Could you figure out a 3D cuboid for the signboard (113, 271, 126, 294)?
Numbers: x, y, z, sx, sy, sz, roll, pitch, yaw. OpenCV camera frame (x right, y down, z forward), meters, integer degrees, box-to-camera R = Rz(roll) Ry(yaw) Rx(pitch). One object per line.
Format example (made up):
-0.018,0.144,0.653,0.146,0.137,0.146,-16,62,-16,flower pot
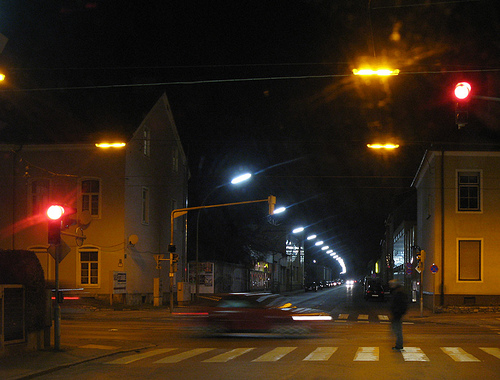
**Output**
-8.565,6.095,41.771,0.473,1.446,1.580,-3,-14,14,signboard

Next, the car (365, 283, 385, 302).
11.722,9.771,60.729,1.686,1.594,1.598,-5,-14,17,car

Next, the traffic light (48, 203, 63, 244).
-6.743,1.143,22.153,0.492,1.519,0.722,4,-13,-18,traffic light

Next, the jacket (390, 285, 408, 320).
5.216,3.960,22.357,0.576,1.245,0.648,-3,-13,13,jacket

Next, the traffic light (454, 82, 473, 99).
6.830,-3.181,20.549,0.564,0.593,0.347,-3,-13,10,traffic light

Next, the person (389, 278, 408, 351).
5.260,4.408,22.551,0.609,2.545,1.412,-3,-13,12,person

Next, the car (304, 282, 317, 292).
9.071,14.660,95.581,1.339,1.142,2.222,0,-4,14,car
